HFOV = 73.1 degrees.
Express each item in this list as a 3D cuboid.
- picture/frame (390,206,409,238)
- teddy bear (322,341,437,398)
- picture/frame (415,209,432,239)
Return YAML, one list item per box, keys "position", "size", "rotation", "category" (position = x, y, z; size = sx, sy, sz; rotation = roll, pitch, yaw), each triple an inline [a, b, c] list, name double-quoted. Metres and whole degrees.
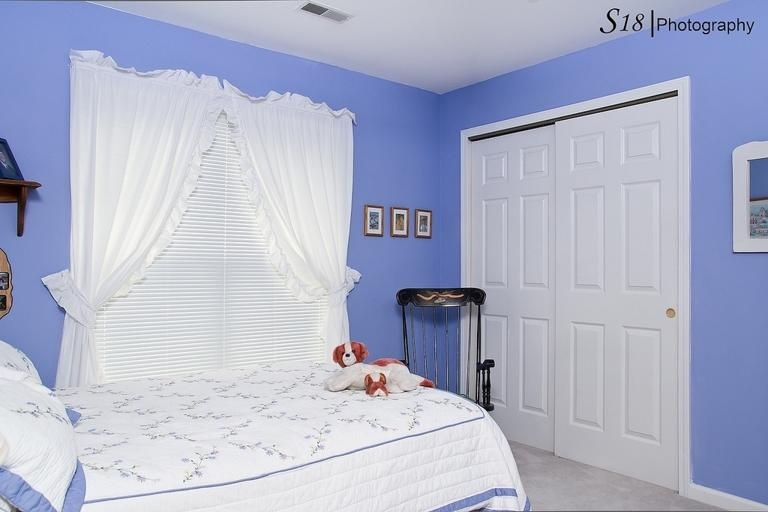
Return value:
- position: [0.140, -0.329, 5.000]
  size: [0.312, 0.361, 0.028]
  rotation: [1, -2, -38]
  category: "picture/frame"
- position: [-0.087, 0.757, 3.502]
  size: [0.569, 0.241, 0.373]
  rotation: [7, -16, -15]
  category: "teddy bear"
- position: [0.385, -0.323, 5.178]
  size: [0.309, 0.321, 0.024]
  rotation: [2, -3, -41]
  category: "picture/frame"
